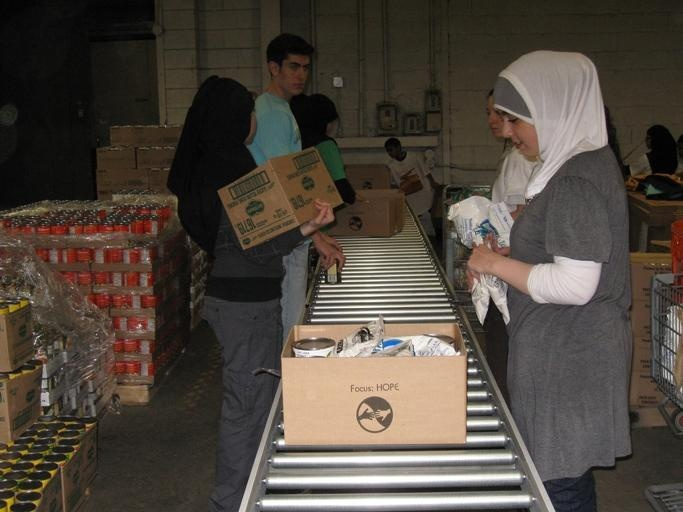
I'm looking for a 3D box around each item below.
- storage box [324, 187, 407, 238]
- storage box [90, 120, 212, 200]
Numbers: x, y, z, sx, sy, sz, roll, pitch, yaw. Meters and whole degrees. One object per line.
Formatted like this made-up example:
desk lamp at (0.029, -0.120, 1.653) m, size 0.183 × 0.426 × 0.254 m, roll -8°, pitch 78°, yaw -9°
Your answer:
storage box at (0.175, -0.288, 4.485) m, size 0.406 × 0.225 × 0.383 m, roll -1°, pitch 12°, yaw 4°
storage box at (-2.148, -1.114, 7.913) m, size 1.358 × 1.224 × 0.796 m, roll 2°, pitch 5°, yaw -1°
